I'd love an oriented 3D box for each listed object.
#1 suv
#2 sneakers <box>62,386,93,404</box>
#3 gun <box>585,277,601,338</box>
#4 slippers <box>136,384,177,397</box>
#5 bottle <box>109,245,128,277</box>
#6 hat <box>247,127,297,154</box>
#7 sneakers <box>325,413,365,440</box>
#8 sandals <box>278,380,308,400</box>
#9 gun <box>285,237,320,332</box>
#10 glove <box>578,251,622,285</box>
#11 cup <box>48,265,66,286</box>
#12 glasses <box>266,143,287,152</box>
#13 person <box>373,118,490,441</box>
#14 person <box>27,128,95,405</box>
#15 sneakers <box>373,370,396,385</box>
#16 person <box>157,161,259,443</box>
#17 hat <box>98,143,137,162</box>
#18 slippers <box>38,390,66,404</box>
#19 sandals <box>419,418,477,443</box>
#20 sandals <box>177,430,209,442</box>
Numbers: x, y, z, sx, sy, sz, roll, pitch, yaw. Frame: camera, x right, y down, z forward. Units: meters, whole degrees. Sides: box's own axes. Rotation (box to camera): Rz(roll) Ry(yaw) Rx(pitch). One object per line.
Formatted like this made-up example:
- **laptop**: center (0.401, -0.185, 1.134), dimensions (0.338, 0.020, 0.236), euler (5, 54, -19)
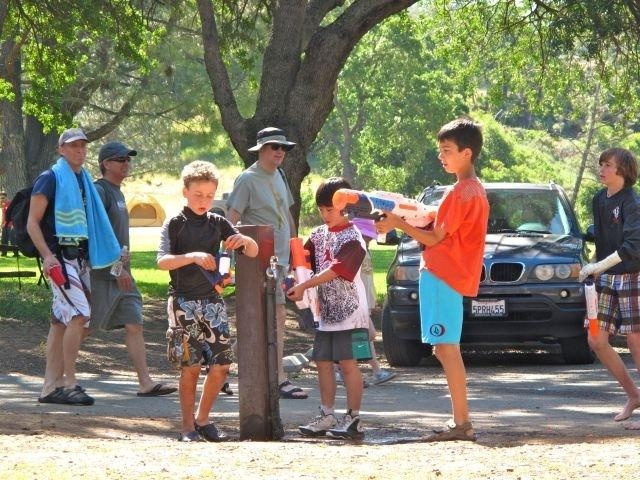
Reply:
- **suv**: center (2.348, 0.492, 15.009), dimensions (1.961, 1.588, 3.253), euler (-1, -8, 7)
- **sneakers**: center (-2.511, 1.611, 11.176), dimensions (0.305, 0.120, 0.159), euler (0, -1, 34)
- **gun**: center (2.881, 0.708, 11.367), dimensions (0.126, 0.555, 0.961), euler (-1, 1, 14)
- **slippers**: center (-1.801, 1.664, 11.910), dimensions (0.431, 0.118, 0.159), euler (-2, -2, -4)
- **bottle**: center (-2.181, 0.231, 11.719), dimensions (0.207, 0.342, 0.285), euler (-1, 1, -11)
- **hat**: center (-0.540, -1.187, 12.373), dimensions (0.492, 0.277, 0.481), euler (-1, 1, -2)
- **sneakers**: center (0.246, 1.767, 10.257), dimensions (0.331, 0.247, 0.153), euler (-1, 1, 5)
- **sandals**: center (-0.302, 1.705, 12.137), dimensions (0.308, 0.117, 0.164), euler (-4, -3, 38)
- **gun**: center (-0.154, 0.414, 10.466), dimensions (0.278, 0.885, 0.473), euler (-1, 1, -2)
- **glove**: center (2.999, 0.301, 11.464), dimensions (0.622, 0.148, 0.175), euler (-25, -20, -2)
- **cup**: center (-2.696, 0.351, 11.056), dimensions (0.131, 0.177, 0.124), euler (-38, -11, -9)
- **glasses**: center (-0.440, -1.078, 12.339), dimensions (0.153, 0.081, 0.304), euler (0, 1, 36)
- **person**: center (1.162, 0.347, 10.026), dimensions (0.804, 3.001, 0.385), euler (-1, 1, 8)
- **person**: center (-2.661, 0.253, 11.310), dimensions (0.717, 2.896, 0.594), euler (-2, 1, -39)
- **sneakers**: center (0.776, 1.658, 13.113), dimensions (0.341, 0.146, 0.116), euler (-23, -12, 30)
- **person**: center (-1.100, 0.567, 10.153), dimensions (0.834, 2.668, 0.585), euler (-1, 1, -9)
- **hat**: center (-2.253, -0.997, 11.976), dimensions (0.382, 0.164, 0.243), euler (-3, 5, -3)
- **slippers**: center (-2.781, 1.623, 11.182), dimensions (0.321, 0.108, 0.119), euler (-5, -8, 38)
- **sandals**: center (1.136, 1.781, 10.079), dimensions (0.606, 0.232, 0.199), euler (1, -6, 7)
- **sandals**: center (-1.193, 1.831, 10.049), dimensions (0.214, 0.066, 0.112), euler (-10, -11, 35)
